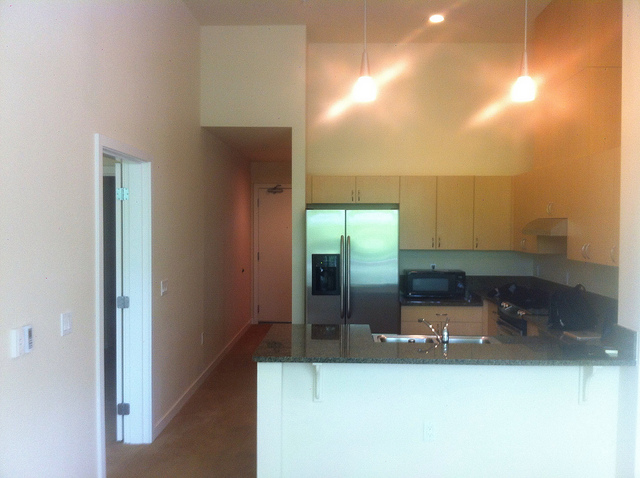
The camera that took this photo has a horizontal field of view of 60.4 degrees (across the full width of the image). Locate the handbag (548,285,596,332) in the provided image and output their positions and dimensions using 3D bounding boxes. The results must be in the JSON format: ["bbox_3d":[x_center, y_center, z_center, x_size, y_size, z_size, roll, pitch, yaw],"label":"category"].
[{"bbox_3d":[2.295,0.641,5.032,0.396,0.525,0.311,1,-3,24],"label":"handbag"}]

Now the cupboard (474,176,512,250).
[{"bbox_3d":[1.953,-0.293,6.198,0.388,0.824,0.297,2,5,5],"label":"cupboard"}]

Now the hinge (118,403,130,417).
[{"bbox_3d":[-1.727,1.494,4.847,0.112,0.114,0.027,2,-1,15],"label":"hinge"}]

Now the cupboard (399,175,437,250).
[{"bbox_3d":[1.102,-0.310,6.127,0.399,0.816,0.315,1,6,5],"label":"cupboard"}]

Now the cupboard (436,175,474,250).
[{"bbox_3d":[1.510,-0.305,6.115,0.442,0.794,0.252,1,5,-5],"label":"cupboard"}]

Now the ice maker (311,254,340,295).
[{"bbox_3d":[0.053,0.361,5.791,0.359,0.561,0.369,1,1,7],"label":"ice maker"}]

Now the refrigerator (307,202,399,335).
[{"bbox_3d":[0.318,0.420,6.145,0.930,1.801,0.673,-3,20,-3],"label":"refrigerator"}]

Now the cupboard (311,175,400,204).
[{"bbox_3d":[0.420,-0.592,6.581,0.926,0.312,0.412,0,5,3],"label":"cupboard"}]

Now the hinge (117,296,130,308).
[{"bbox_3d":[-1.717,0.550,4.808,0.089,0.103,0.102,0,2,1],"label":"hinge"}]

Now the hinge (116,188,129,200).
[{"bbox_3d":[-1.719,-0.394,4.772,0.098,0.099,0.025,2,3,13],"label":"hinge"}]
